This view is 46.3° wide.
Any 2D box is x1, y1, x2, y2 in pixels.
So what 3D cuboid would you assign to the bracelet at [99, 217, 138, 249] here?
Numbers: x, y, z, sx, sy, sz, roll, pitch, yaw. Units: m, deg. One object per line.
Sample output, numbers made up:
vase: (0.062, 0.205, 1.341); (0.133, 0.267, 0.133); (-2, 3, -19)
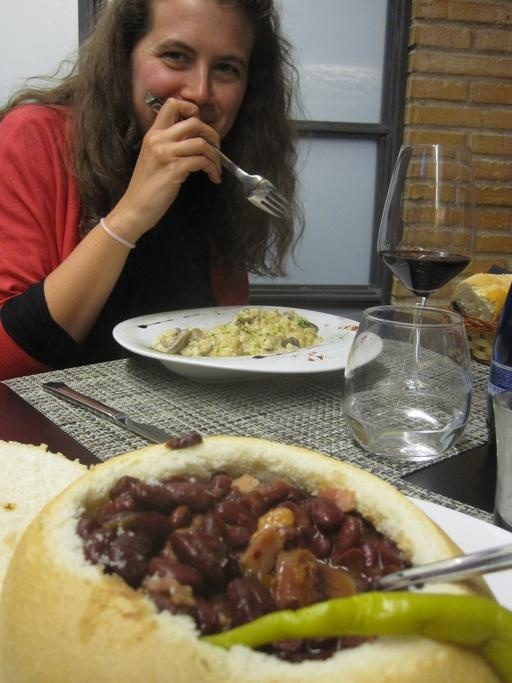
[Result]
bracelet: (-0.322, -0.244, 1.371); (0.079, 0.068, 0.053); (1, 14, -9)
